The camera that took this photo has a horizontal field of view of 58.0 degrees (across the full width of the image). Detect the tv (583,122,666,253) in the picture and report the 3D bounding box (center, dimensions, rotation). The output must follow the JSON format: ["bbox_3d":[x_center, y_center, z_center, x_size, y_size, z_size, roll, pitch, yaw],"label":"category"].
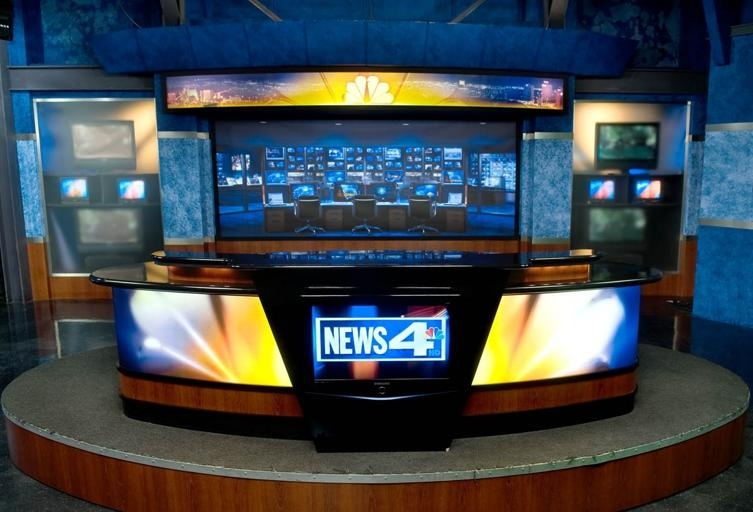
[{"bbox_3d":[3.511,-1.025,9.610,1.011,1.705,0.193,-1,12,-7],"label":"tv"}]

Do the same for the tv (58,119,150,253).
[{"bbox_3d":[-3.784,-0.954,9.619,1.390,1.865,0.240,2,12,8],"label":"tv"}]

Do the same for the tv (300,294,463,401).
[{"bbox_3d":[0.017,0.733,5.697,1.168,0.635,0.139,0,1,1],"label":"tv"}]
